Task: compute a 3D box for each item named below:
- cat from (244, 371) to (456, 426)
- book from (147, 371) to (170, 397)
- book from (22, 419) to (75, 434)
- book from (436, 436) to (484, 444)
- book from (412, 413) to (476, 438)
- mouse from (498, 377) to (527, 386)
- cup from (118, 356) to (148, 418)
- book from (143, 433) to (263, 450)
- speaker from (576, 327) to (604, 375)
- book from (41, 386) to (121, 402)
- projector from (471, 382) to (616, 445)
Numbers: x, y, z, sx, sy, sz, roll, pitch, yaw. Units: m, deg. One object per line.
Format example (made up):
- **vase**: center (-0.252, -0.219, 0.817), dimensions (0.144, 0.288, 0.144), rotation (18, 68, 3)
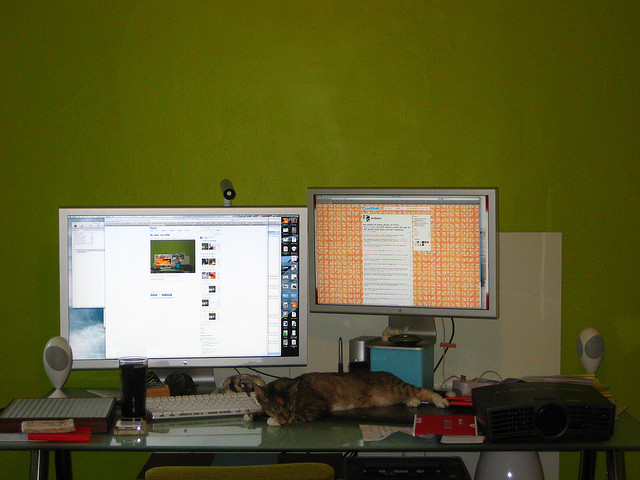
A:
- **cat**: center (0.109, 0.524, 2.210), dimensions (0.744, 0.176, 0.142), rotation (-1, -27, -21)
- **book**: center (-0.566, 0.503, 2.276), dimensions (0.092, 0.038, 0.123), rotation (1, -2, -7)
- **book**: center (-0.808, 0.556, 1.953), dimensions (0.070, 0.020, 0.072), rotation (0, -4, 1)
- **book**: center (0.420, 0.598, 1.955), dimensions (0.133, 0.024, 0.038), rotation (-2, -17, 8)
- **book**: center (0.378, 0.568, 1.995), dimensions (0.188, 0.064, 0.069), rotation (-3, -17, 14)
- **mouse**: center (0.628, 0.464, 2.142), dimensions (0.051, 0.015, 0.047), rotation (-4, -2, -3)
- **cup**: center (-0.601, 0.469, 2.087), dimensions (0.091, 0.188, 0.086), rotation (1, -16, 0)
- **book**: center (-0.354, 0.604, 1.959), dimensions (0.354, 0.043, 0.100), rotation (2, -17, -4)
- **speaker**: center (1.029, 0.423, 2.487), dimensions (0.103, 0.183, 0.103), rotation (2, -6, -29)
- **book**: center (-0.825, 0.536, 2.273), dimensions (0.132, 0.031, 0.126), rotation (2, 0, 16)
- **projector**: center (0.679, 0.526, 1.994), dimensions (0.406, 0.192, 0.157), rotation (1, -16, -1)
